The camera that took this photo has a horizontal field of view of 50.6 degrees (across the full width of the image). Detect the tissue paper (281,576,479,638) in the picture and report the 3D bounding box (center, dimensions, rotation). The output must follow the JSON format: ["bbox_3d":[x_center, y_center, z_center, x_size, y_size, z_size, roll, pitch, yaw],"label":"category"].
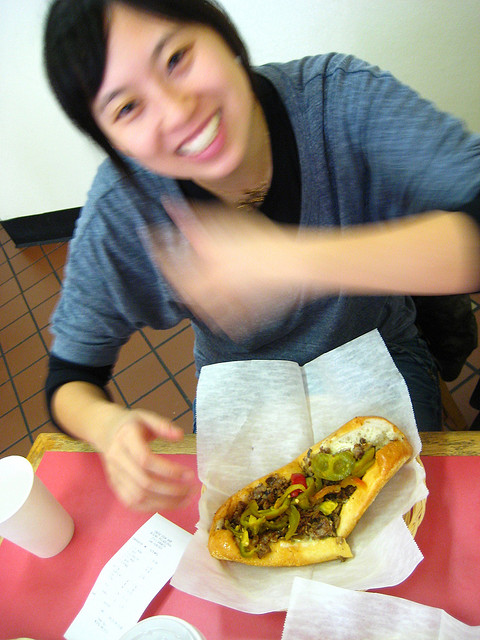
[{"bbox_3d":[0.216,0.536,0.897,0.262,0.055,0.089,9,41,6],"label":"tissue paper"}]
